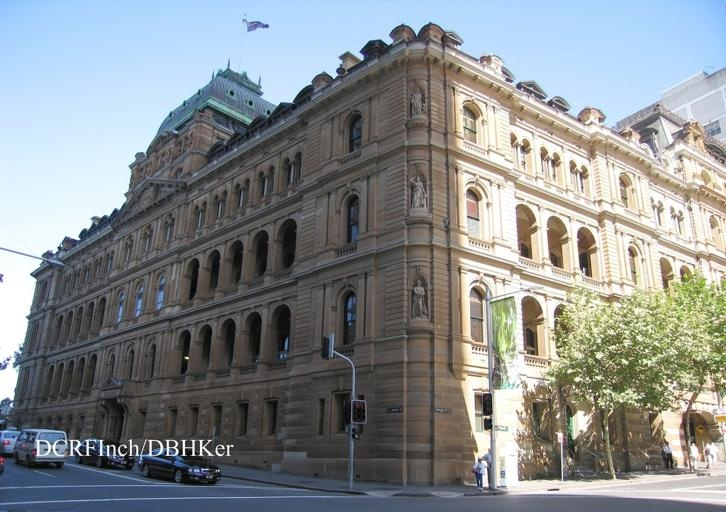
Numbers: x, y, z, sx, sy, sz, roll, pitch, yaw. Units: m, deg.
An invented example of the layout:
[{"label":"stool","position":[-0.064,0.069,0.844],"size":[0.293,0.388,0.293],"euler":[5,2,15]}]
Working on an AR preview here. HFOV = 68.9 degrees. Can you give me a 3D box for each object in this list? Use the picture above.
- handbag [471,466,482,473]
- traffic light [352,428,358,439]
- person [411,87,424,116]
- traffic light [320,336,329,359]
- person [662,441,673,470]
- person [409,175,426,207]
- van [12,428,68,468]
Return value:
[{"label":"handbag","position":[6.280,11.650,29.001],"size":[0.410,0.378,0.384],"euler":[-2,-13,5]},{"label":"traffic light","position":[-0.417,9.597,28.892],"size":[0.317,0.513,0.147],"euler":[6,-24,-15]},{"label":"person","position":[3.848,-10.822,37.122],"size":[0.989,2.284,0.427],"euler":[-4,-24,6]},{"label":"traffic light","position":[-2.067,5.105,30.045],"size":[0.406,1.215,0.529],"euler":[5,-24,-13]},{"label":"person","position":[23.852,15.499,41.396],"size":[0.689,2.110,1.560],"euler":[-10,-25,20]},{"label":"person","position":[3.724,-4.289,35.260],"size":[1.142,2.365,0.478],"euler":[-3,-24,5]},{"label":"van","position":[-22.125,13.250,36.534],"size":[5.677,2.472,2.509],"euler":[-21,-30,39]}]
